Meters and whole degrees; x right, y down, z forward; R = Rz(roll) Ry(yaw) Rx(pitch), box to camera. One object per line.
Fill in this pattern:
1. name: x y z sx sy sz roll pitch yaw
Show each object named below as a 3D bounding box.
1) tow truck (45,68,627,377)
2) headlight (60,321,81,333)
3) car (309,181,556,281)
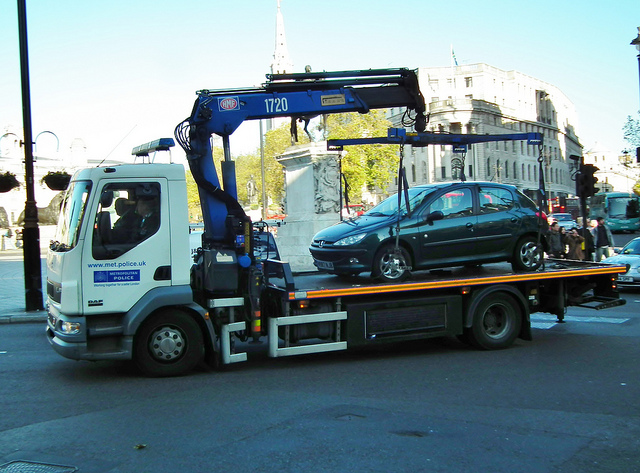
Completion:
1. tow truck: 0.471 -0.478 10.838 10.368 4.317 3.170 -3 12 -26
2. headlight: -3.430 1.243 8.255 0.225 0.093 0.165 0 -7 38
3. car: 1.962 -0.118 11.155 3.686 1.308 2.032 0 -1 -19
